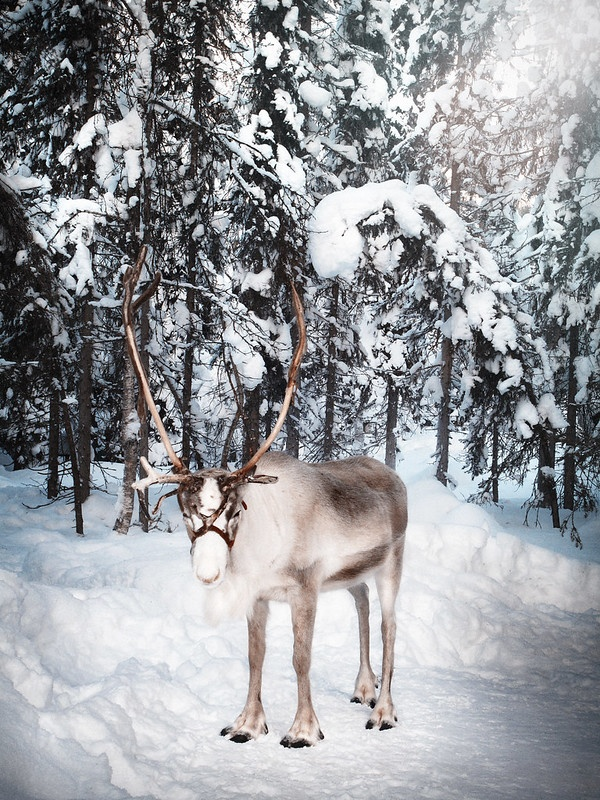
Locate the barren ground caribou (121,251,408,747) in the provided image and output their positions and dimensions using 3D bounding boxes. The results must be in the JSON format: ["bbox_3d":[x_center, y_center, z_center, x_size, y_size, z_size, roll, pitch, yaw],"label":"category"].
[{"bbox_3d":[-0.035,1.018,8.790,1.711,4.344,2.897,3,-1,44],"label":"barren ground caribou"}]
